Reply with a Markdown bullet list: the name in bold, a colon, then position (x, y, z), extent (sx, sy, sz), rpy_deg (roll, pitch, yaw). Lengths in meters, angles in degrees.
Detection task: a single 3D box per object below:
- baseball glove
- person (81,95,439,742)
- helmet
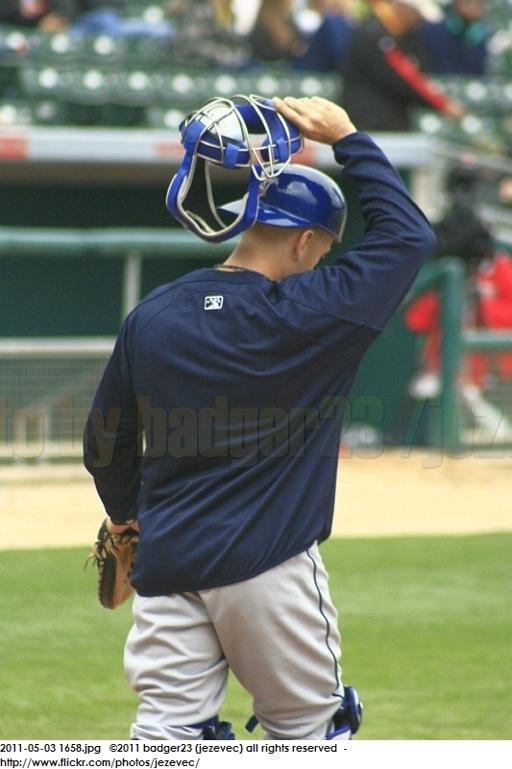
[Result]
- **baseball glove**: position (-0.353, 0.442, 3.226), extent (0.130, 0.260, 0.092), rpy_deg (10, 22, 19)
- **person**: position (-0.008, 0.076, 2.928), extent (0.902, 1.414, 0.499), rpy_deg (-6, -15, 14)
- **helmet**: position (-0.016, -0.483, 3.002), extent (0.433, 0.363, 0.327), rpy_deg (-5, 17, -41)
